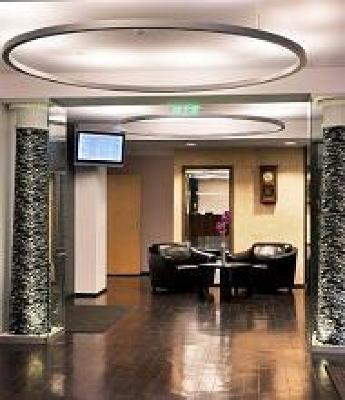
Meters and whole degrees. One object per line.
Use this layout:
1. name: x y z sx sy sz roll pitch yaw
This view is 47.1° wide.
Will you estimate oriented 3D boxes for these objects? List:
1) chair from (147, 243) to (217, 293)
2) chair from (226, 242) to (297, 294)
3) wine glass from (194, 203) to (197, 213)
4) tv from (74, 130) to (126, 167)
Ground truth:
1. chair: 0.124 1.375 8.345 1.216 0.816 1.132 1 -2 -25
2. chair: 1.862 1.363 8.265 1.407 0.833 1.318 -2 -3 14
3. wine glass: 0.528 0.181 9.182 0.063 0.216 0.037 1 -5 -9
4. tv: -1.323 -0.937 7.203 0.857 0.528 0.084 1 6 -27
